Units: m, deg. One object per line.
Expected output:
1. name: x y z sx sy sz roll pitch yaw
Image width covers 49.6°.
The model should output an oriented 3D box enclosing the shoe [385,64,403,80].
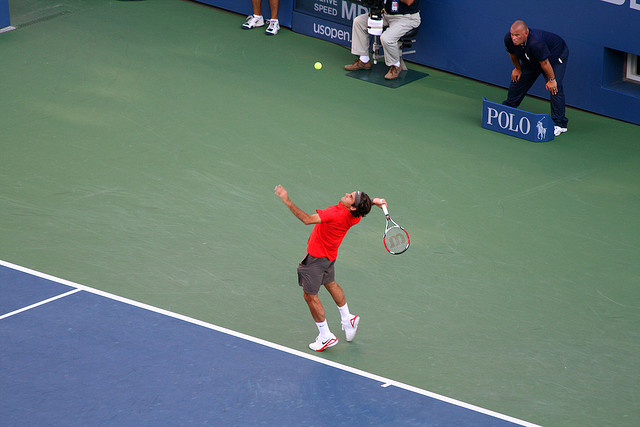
1. shoe: 1.663 -3.227 15.863 0.202 0.217 0.498 30 62 23

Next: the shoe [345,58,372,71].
1. shoe: 0.840 -3.491 16.278 0.694 0.235 0.236 1 22 1

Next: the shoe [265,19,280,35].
1. shoe: -1.256 -4.740 17.584 0.342 0.352 0.295 1 25 -11

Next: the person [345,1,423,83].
1. person: 1.347 -4.013 15.840 1.030 1.792 1.293 -18 34 -41

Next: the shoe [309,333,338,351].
1. shoe: -0.043 1.828 9.910 0.484 0.220 0.170 -20 16 22

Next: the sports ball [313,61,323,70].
1. sports ball: -0.081 -3.490 16.315 0.222 0.153 0.392 3 23 -4

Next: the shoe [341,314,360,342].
1. shoe: 0.422 1.635 9.934 0.233 0.468 0.160 8 50 5

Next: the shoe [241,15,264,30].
1. shoe: -1.889 -4.925 17.827 0.782 0.313 0.243 -17 38 -22
